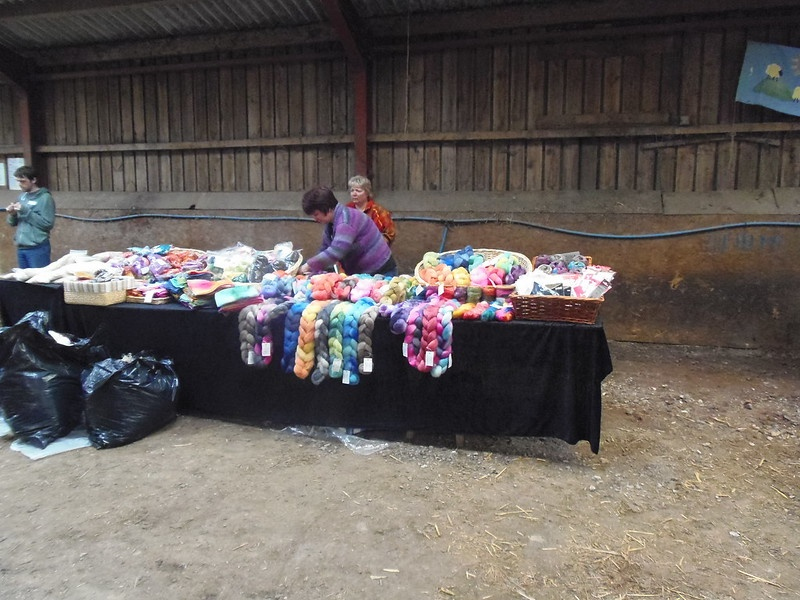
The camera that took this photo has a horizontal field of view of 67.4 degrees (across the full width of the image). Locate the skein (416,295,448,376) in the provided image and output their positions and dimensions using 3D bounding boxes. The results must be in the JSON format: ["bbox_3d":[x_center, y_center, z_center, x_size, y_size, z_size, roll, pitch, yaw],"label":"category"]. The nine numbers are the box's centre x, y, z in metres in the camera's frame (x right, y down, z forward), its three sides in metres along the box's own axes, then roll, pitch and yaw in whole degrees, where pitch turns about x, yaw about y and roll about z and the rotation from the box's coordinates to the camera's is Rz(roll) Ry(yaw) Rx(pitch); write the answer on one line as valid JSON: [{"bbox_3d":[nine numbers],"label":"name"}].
[{"bbox_3d":[0.230,0.231,3.651,0.194,0.423,0.269,2,9,19],"label":"skein"}]

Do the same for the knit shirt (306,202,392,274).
[{"bbox_3d":[-0.422,-0.493,4.766,0.633,0.494,0.476,-7,16,-23],"label":"knit shirt"}]

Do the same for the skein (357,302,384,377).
[{"bbox_3d":[-0.195,0.246,3.674,0.082,0.314,0.252,1,-7,20],"label":"skein"}]

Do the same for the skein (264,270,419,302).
[{"bbox_3d":[-0.402,-0.080,4.039,0.723,0.153,0.405,2,2,12],"label":"skein"}]

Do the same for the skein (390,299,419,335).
[{"bbox_3d":[0.026,0.098,3.679,0.145,0.070,0.203,9,41,22],"label":"skein"}]

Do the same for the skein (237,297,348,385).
[{"bbox_3d":[-0.680,0.232,3.806,0.625,0.295,0.503,0,0,22],"label":"skein"}]

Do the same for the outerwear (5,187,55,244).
[{"bbox_3d":[-3.742,-0.842,6.078,0.411,0.584,0.225,-1,9,3],"label":"outerwear"}]

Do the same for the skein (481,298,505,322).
[{"bbox_3d":[0.580,0.054,3.720,0.069,0.079,0.262,2,13,16],"label":"skein"}]

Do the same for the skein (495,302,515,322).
[{"bbox_3d":[0.653,0.078,3.683,0.104,0.078,0.165,3,10,29],"label":"skein"}]

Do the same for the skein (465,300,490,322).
[{"bbox_3d":[0.482,0.058,3.722,0.083,0.049,0.161,5,13,33],"label":"skein"}]

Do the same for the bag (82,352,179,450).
[{"bbox_3d":[-1.811,0.659,4.090,0.494,0.561,0.645,5,7,36],"label":"bag"}]
